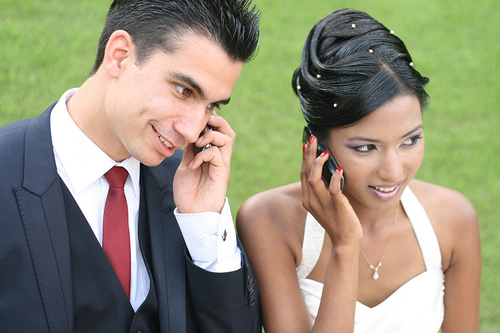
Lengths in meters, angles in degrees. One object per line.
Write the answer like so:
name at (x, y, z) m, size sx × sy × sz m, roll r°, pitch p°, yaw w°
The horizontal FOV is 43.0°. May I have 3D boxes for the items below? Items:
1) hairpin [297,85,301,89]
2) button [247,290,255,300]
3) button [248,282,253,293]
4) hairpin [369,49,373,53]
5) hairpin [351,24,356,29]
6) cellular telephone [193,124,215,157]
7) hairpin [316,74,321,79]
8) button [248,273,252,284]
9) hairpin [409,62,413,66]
hairpin at (0.377, -0.608, 4.879) m, size 0.019 × 0.022 × 0.011 m, roll -5°, pitch -15°, yaw 17°
button at (0.009, 0.918, 4.555) m, size 0.016 × 0.053 × 0.052 m, roll 23°, pitch 3°, yaw 14°
button at (0.006, 0.865, 4.540) m, size 0.013 × 0.052 × 0.028 m, roll -5°, pitch -23°, yaw 42°
hairpin at (0.881, -0.840, 4.623) m, size 0.017 × 0.019 × 0.010 m, roll -3°, pitch -31°, yaw -9°
hairpin at (0.770, -1.042, 4.715) m, size 0.028 × 0.034 × 0.017 m, roll 2°, pitch 0°, yaw 1°
cellular telephone at (-0.350, -0.198, 4.685) m, size 0.051 × 0.188 × 0.191 m, roll 12°, pitch -37°, yaw -8°
hairpin at (0.509, -0.669, 4.696) m, size 0.027 × 0.029 × 0.007 m, roll -6°, pitch -7°, yaw 33°
button at (-0.001, 0.797, 4.539) m, size 0.014 × 0.054 × 0.037 m, roll 1°, pitch 12°, yaw -3°
hairpin at (1.195, -0.761, 4.703) m, size 0.032 × 0.037 × 0.008 m, roll 1°, pitch -13°, yaw 0°
